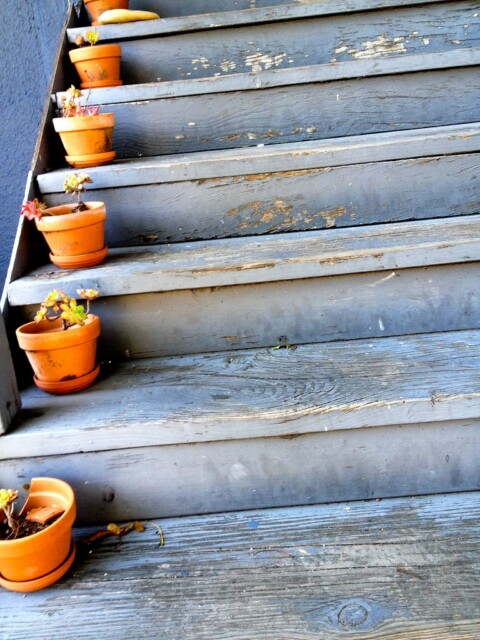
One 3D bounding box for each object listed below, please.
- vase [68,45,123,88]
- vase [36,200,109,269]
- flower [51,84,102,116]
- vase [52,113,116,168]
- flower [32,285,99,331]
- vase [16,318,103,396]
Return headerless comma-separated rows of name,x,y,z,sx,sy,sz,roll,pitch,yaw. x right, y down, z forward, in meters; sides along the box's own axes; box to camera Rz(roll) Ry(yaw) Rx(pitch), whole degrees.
vase,-0.396,-0.699,2.389,0.157,0.092,0.141,-11,13,-15
vase,-0.358,-0.193,1.984,0.184,0.117,0.163,4,22,17
flower,-0.426,-0.556,2.215,0.149,0.082,0.115,0,53,-7
vase,-0.394,-0.456,2.191,0.171,0.105,0.148,-7,12,-5
flower,-0.366,-0.029,1.796,0.121,0.067,0.107,1,12,18
vase,-0.372,0.072,1.814,0.184,0.123,0.173,-15,17,-29
